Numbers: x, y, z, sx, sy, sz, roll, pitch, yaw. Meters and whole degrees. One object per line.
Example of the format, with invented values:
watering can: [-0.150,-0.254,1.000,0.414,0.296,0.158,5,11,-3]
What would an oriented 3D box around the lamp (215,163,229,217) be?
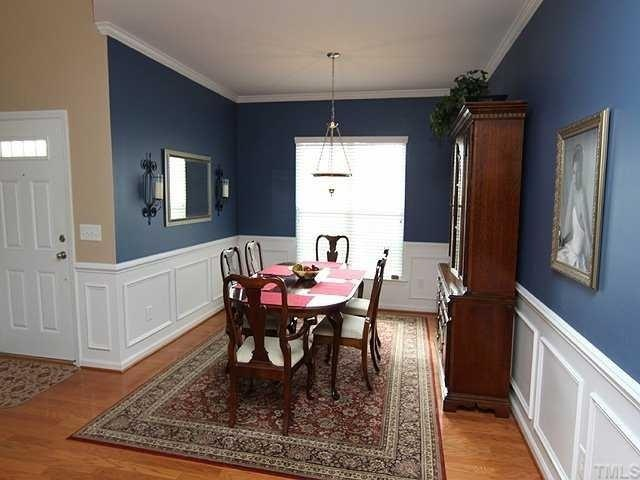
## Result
lamp: [-1.357,-0.688,6.245,0.163,0.670,0.172,1,4,-3]

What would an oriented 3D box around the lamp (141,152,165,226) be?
lamp: [-1.819,-0.540,4.883,0.225,0.758,0.204,-1,2,-23]
